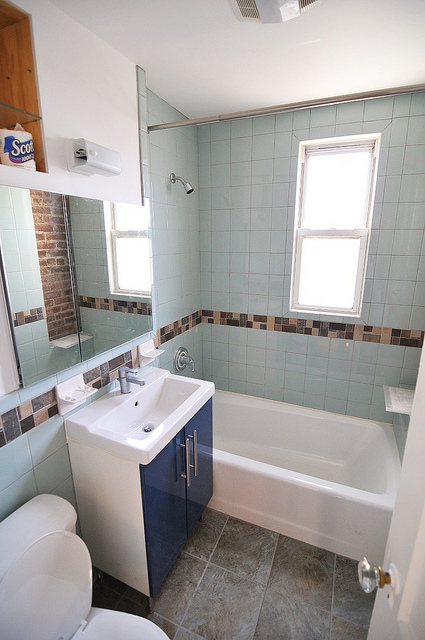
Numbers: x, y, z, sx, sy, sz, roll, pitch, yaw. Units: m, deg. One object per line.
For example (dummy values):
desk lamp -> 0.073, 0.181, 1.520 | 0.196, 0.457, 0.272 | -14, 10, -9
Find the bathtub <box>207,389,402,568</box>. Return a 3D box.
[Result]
bathtub -> 0.463, 0.806, 2.523 | 1.176, 0.367, 0.943 | 7, 17, 23

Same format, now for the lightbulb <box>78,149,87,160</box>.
lightbulb -> -0.459, -0.584, 1.493 | 0.018, 0.028, 0.036 | -21, 56, -24

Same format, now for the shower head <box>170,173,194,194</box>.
shower head -> -0.187, -0.795, 2.438 | 0.120, 0.113, 0.254 | -2, 16, -6

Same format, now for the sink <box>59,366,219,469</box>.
sink -> -0.288, 0.449, 1.907 | 0.399, 0.222, 0.641 | 6, 16, 25
